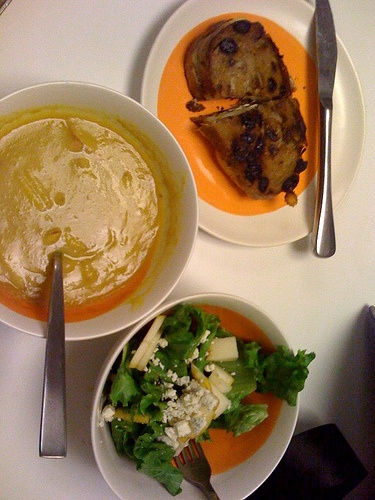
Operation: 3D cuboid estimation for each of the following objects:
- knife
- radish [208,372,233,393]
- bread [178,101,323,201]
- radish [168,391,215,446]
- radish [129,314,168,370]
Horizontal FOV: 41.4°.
[{"bbox_3d":[0.406,-0.376,1.509,0.097,0.686,0.035,0,5,-3],"label":"knife"},{"bbox_3d":[0.094,0.388,1.447,0.037,0.019,0.068,-37,83,-31],"label":"radish"},{"bbox_3d":[0.215,-0.314,1.498,0.291,0.341,0.111,-25,10,-13],"label":"bread"},{"bbox_3d":[0.001,0.452,1.364,0.116,0.123,0.130,19,49,18],"label":"radish"},{"bbox_3d":[-0.100,0.251,1.424,0.055,0.043,0.188,36,66,-13],"label":"radish"}]
